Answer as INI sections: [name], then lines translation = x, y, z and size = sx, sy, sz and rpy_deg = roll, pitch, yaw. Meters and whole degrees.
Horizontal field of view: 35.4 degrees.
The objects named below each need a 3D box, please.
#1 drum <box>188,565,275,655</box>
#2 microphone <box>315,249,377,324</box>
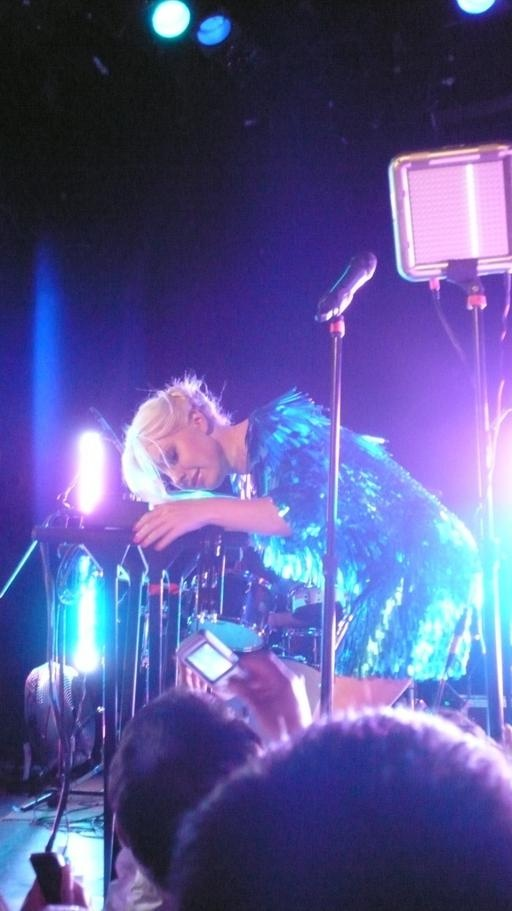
[drum]
translation = -0.059, 0.368, 1.968
size = 0.165, 0.152, 0.198
rpy_deg = 14, -23, 0
[microphone]
translation = 0.239, -0.406, 2.021
size = 0.057, 0.216, 0.130
rpy_deg = 29, 13, -39
